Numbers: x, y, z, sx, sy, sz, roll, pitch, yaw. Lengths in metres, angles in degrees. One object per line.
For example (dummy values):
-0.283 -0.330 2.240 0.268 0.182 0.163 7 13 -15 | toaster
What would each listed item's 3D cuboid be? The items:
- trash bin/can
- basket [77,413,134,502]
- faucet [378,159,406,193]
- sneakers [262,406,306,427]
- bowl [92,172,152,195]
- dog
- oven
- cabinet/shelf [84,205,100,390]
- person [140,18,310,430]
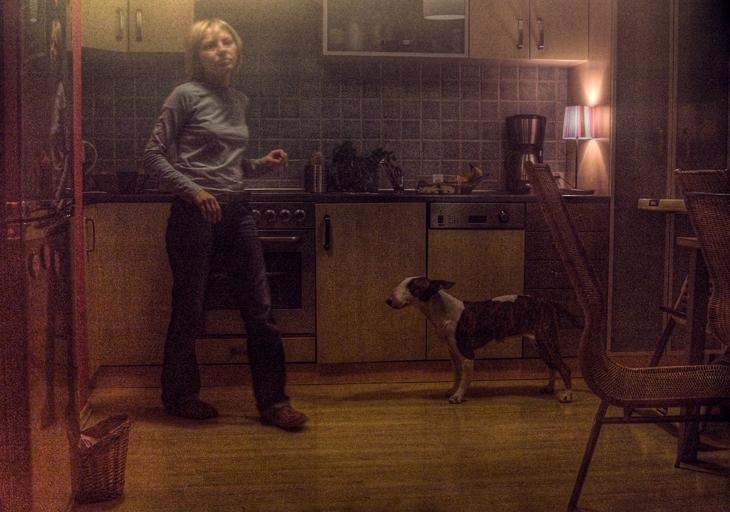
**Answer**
-0.891 0.693 2.266 0.249 0.247 0.207 1 -1 -21 | trash bin/can
-0.891 0.703 2.302 0.248 0.247 0.206 1 -1 -21 | basket
0.161 -0.420 3.443 0.119 0.187 0.055 3 33 16 | faucet
-0.339 0.647 2.715 0.155 0.059 0.084 2 5 27 | sneakers
-1.198 -0.350 3.151 0.146 0.075 0.223 -1 4 -33 | bowl
0.345 0.347 2.967 1.228 0.693 0.386 1 -2 -1 | dog
-0.486 0.179 3.369 0.707 0.763 0.655 7 -17 -19 | oven
-1.272 0.190 2.961 0.082 0.863 0.082 0 -1 2 | cabinet/shelf
-0.663 -0.165 2.773 0.511 1.676 0.642 -4 12 -18 | person
